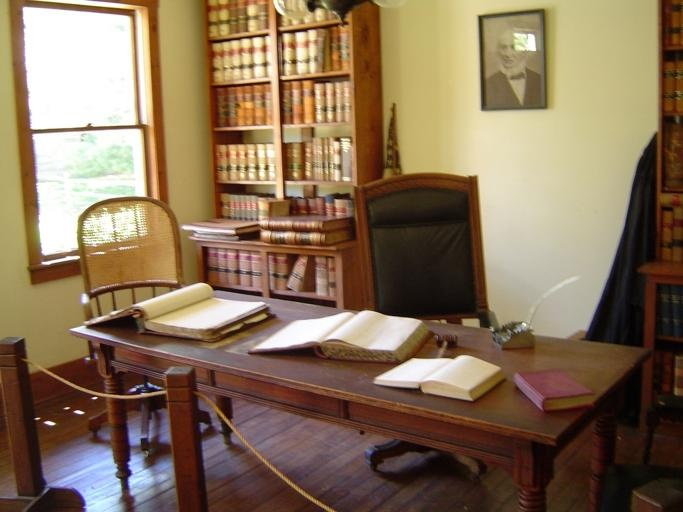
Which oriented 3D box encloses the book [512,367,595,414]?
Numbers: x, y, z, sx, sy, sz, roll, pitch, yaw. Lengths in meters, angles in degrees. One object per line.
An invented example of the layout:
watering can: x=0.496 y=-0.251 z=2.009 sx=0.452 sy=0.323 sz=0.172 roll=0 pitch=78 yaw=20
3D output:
book: x=0.658 y=0.409 z=1.813 sx=0.188 sy=0.029 sz=0.171 roll=-5 pitch=20 yaw=-19

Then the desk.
desk: x=0.105 y=0.683 z=2.279 sx=1.843 sy=0.763 sz=0.725 roll=2 pitch=14 yaw=26

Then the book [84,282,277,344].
book: x=-0.740 y=0.244 z=2.645 sx=0.699 sy=0.116 sz=0.471 roll=2 pitch=13 yaw=20

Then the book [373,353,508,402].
book: x=0.325 y=0.389 z=1.933 sx=0.361 sy=0.074 sz=0.233 roll=3 pitch=12 yaw=30
